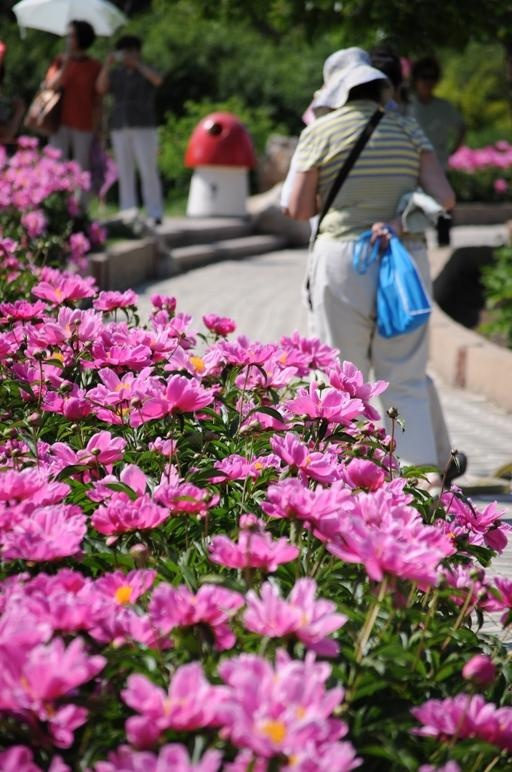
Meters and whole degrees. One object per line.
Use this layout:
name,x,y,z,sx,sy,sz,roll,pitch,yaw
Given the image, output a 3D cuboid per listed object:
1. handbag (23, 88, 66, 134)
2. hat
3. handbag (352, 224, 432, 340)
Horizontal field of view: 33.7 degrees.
handbag,-1.633,-2.183,6.659,0.275,0.124,0.370,-14,32,27
hat,0.310,-1.048,2.883,0.238,0.231,0.317,-5,16,-10
handbag,0.473,-0.342,2.927,0.265,0.390,0.124,3,18,15
